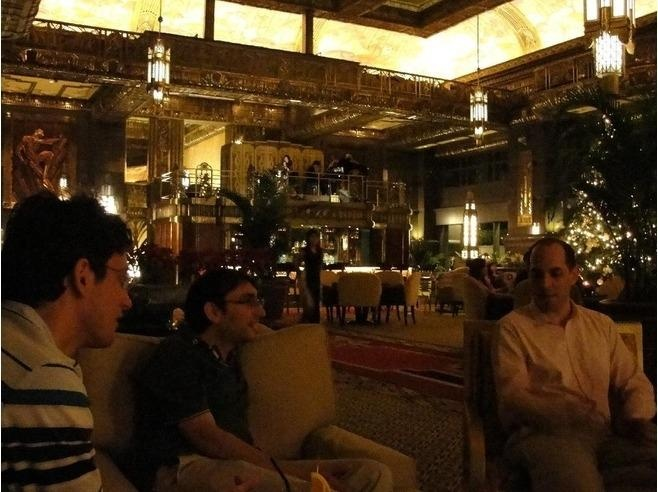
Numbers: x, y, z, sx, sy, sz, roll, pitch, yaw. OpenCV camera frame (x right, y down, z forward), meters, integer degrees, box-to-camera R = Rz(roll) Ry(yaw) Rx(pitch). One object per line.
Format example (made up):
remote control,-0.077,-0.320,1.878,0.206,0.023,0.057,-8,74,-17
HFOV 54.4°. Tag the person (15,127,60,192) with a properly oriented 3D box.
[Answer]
person,-6.421,-1.876,14.215,1.015,1.507,0.359,0,1,-26

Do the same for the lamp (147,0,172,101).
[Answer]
lamp,-2.466,-2.596,9.291,0.314,1.040,0.510,1,1,-18

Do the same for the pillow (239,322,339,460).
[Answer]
pillow,-0.185,0.572,2.562,0.422,0.472,0.190,-19,4,-29

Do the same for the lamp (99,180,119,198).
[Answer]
lamp,-5.062,-1.291,14.665,0.360,0.478,0.389,-3,-4,20
